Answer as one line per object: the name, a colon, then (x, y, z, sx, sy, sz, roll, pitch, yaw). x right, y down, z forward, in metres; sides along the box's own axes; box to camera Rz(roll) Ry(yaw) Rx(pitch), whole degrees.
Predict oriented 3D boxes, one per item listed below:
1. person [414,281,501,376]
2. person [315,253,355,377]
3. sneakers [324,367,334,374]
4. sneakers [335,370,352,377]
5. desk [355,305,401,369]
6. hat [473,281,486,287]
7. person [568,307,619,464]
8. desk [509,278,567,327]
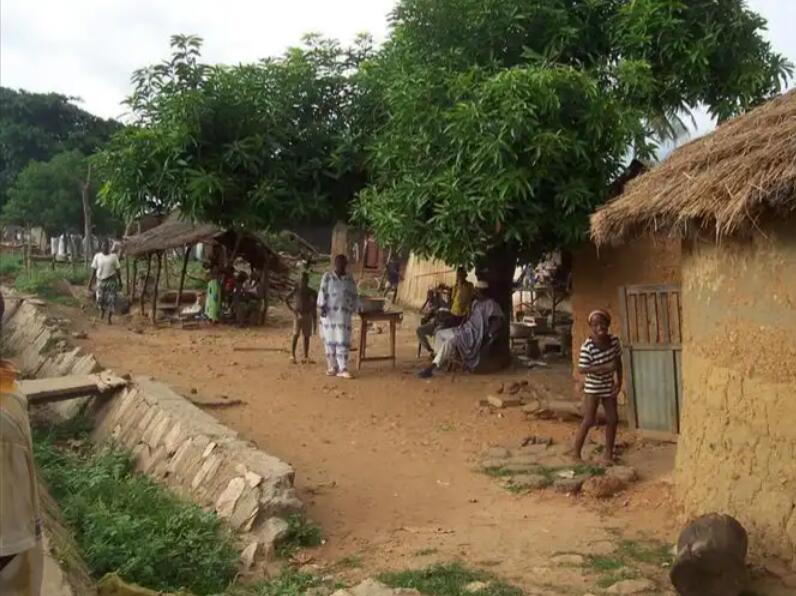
person: (0.971, 0.475, 11.917, 1.608, 1.594, 0.876, -6, 22, -12)
person: (-1.072, 0.278, 11.958, 0.687, 2.182, 1.432, 2, -2, -5)
sneakers: (-1.215, 1.297, 12.170, 0.121, 0.090, 0.225, 1, -5, -2)
sneakers: (-0.960, 1.325, 12.017, 0.270, 0.093, 0.107, 0, -1, 31)
desk: (-0.384, 0.691, 12.751, 1.255, 1.109, 1.073, 0, 1, -4)
hat: (1.418, -0.255, 11.851, 0.134, 0.078, 0.136, 1, 2, 35)
person: (2.171, 0.964, 7.503, 0.485, 1.668, 0.690, 2, -2, 14)
desk: (3.739, 0.303, 18.040, 1.252, 1.006, 2.232, 2, -7, 8)
